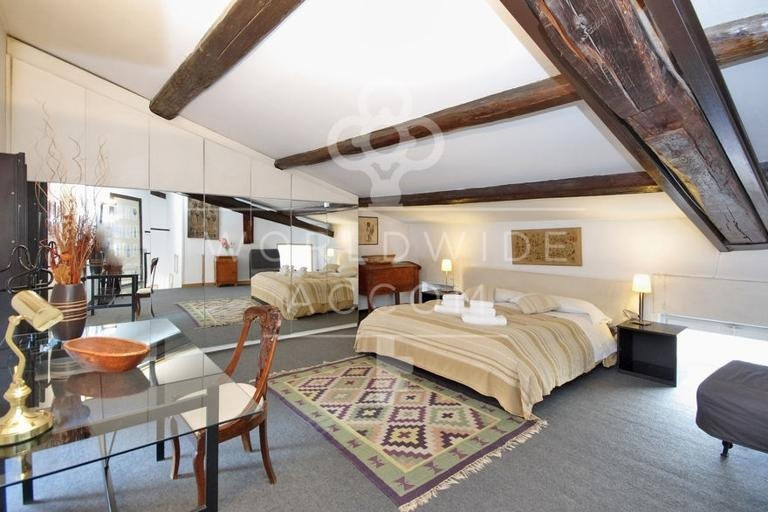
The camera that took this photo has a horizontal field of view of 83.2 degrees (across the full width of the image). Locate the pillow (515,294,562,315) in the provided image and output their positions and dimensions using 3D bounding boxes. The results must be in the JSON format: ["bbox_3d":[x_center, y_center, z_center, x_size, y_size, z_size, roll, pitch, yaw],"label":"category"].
[{"bbox_3d":[2.093,0.655,6.025,0.338,0.104,0.315,-9,7,-22],"label":"pillow"}]

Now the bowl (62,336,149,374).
[{"bbox_3d":[-2.147,0.754,3.340,0.462,0.172,0.573,16,3,33],"label":"bowl"}]

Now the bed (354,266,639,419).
[{"bbox_3d":[1.447,1.045,5.956,2.703,0.909,2.676,-7,6,-44],"label":"bed"}]

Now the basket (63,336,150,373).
[{"bbox_3d":[-2.119,0.740,3.345,0.368,0.129,0.423,7,-2,2],"label":"basket"}]

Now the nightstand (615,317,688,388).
[{"bbox_3d":[3.299,1.156,5.440,0.666,0.768,0.827,2,-2,-44],"label":"nightstand"}]

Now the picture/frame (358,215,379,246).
[{"bbox_3d":[-0.316,-0.498,8.280,0.619,0.608,0.044,2,-2,-41],"label":"picture/frame"}]
